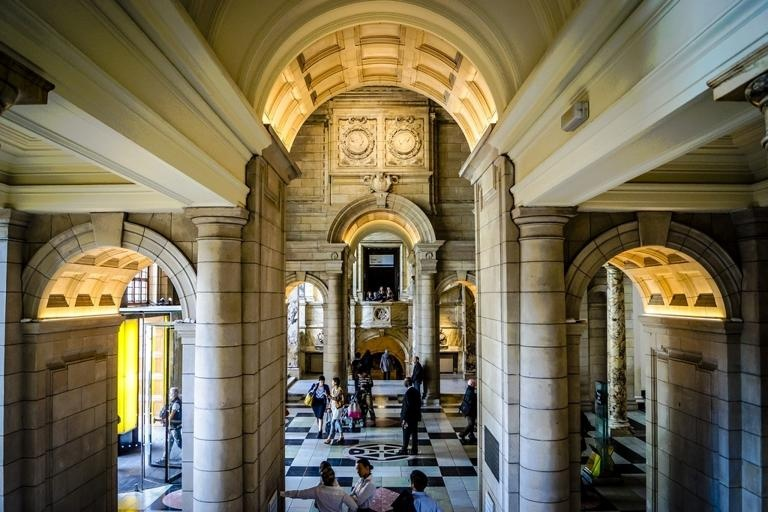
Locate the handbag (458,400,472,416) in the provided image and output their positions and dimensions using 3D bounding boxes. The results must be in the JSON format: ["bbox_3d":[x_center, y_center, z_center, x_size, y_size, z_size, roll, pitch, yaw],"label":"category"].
[{"bbox_3d":[1.698,3.168,10.884,0.193,0.330,0.326,1,-1,-25],"label":"handbag"}]

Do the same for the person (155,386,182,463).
[{"bbox_3d":[-3.886,3.135,9.451,0.348,1.517,0.956,1,-2,-23],"label":"person"}]

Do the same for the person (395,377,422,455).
[{"bbox_3d":[0.527,3.186,10.584,0.377,1.544,1.015,0,-1,2],"label":"person"}]

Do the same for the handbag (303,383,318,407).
[{"bbox_3d":[-1.583,3.039,11.431,0.225,0.492,0.502,0,-1,-9],"label":"handbag"}]

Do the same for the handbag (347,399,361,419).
[{"bbox_3d":[-0.669,3.466,11.798,0.292,0.406,0.288,0,-1,-5],"label":"handbag"}]
